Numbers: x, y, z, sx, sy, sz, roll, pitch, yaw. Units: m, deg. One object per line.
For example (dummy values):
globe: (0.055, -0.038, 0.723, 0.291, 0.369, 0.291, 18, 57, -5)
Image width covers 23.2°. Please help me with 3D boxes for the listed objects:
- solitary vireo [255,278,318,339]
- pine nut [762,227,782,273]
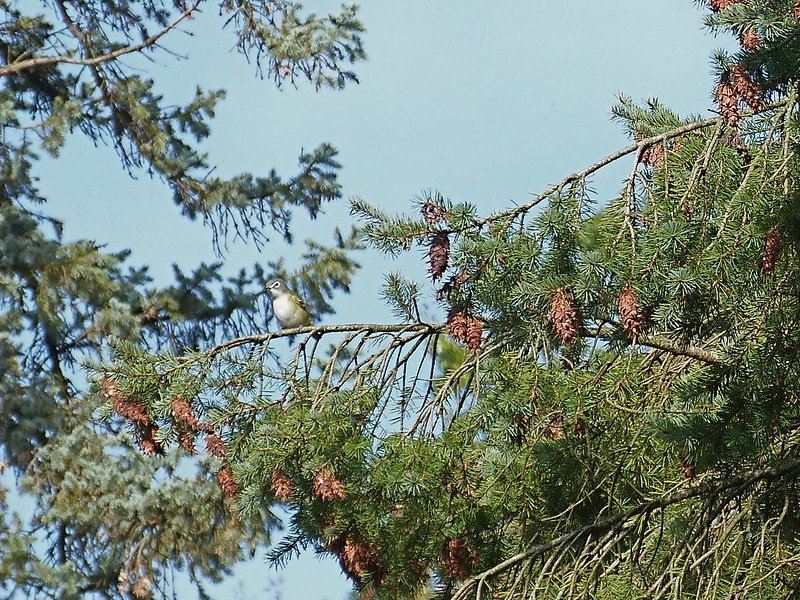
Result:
solitary vireo: (-1.084, 0.011, 19.386, 0.681, 0.334, 0.660, -14, -78, -48)
pine nut: (2.704, -0.369, 14.206, 0.101, 0.367, 0.137, 7, -12, 2)
